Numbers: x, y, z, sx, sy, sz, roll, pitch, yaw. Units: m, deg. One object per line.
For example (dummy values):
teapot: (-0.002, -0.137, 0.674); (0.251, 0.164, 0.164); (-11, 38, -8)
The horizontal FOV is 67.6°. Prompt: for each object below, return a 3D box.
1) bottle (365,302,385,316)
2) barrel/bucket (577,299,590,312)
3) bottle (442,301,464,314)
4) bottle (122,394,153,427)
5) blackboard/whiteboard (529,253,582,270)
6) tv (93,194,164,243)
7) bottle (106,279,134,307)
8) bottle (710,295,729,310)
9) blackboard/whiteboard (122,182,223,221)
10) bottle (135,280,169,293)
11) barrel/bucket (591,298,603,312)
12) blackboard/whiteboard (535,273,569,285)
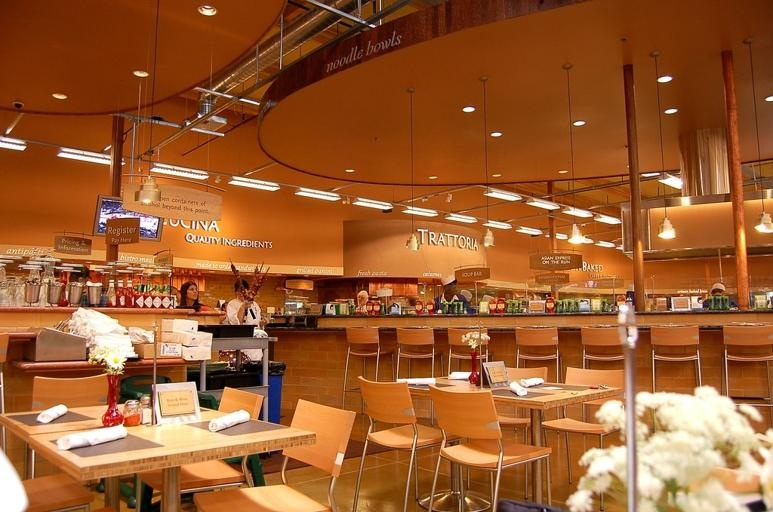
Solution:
bottle: (-0.201, 0.965, 10.719); (0.222, 0.217, 0.225); (1, 3, 22)
barrel/bucket: (3.014, 0.753, 8.799); (0.170, 0.195, 0.169); (0, -5, 0)
bottle: (1.136, 0.885, 9.950); (0.240, 0.172, 0.240); (1, -1, 0)
bottle: (-1.834, 1.138, 4.260); (0.204, 0.203, 0.147); (2, -6, -21)
blackboard/whiteboard: (3.225, 0.093, 11.069); (0.920, 0.321, 0.417); (-1, -6, 7)
tv: (-4.587, -0.662, 10.230); (0.139, 0.724, 1.074); (-2, -7, 43)
bottle: (-3.216, 0.445, 7.030); (0.286, 0.329, 0.265); (2, -6, -23)
bottle: (4.497, 0.625, 7.840); (0.231, 0.207, 0.483); (-4, -6, 29)
blackboard/whiteboard: (-2.800, -0.718, 7.621); (0.415, 0.436, 1.292); (-4, -7, 34)
bottle: (-2.936, 0.392, 7.277); (0.280, 0.105, 0.281); (1, 1, 0)
barrel/bucket: (3.152, 0.729, 8.730); (0.170, 0.209, 0.733); (-3, -6, 20)
blackboard/whiteboard: (4.085, 0.515, 14.243); (0.736, 0.327, 2.199); (-2, -6, 20)
